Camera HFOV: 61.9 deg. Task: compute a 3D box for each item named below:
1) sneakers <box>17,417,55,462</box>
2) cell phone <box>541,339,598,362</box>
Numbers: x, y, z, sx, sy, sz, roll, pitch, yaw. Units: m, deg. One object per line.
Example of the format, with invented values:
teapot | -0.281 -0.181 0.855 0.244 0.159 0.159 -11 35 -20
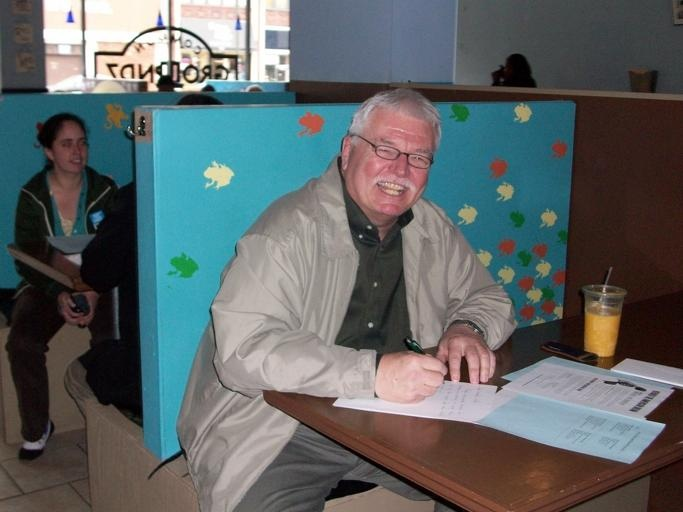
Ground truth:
sneakers | -1.326 0.805 2.529 0.082 0.081 0.211 5 30 5
cell phone | 0.575 0.240 1.440 0.089 0.016 0.156 -8 14 -31
